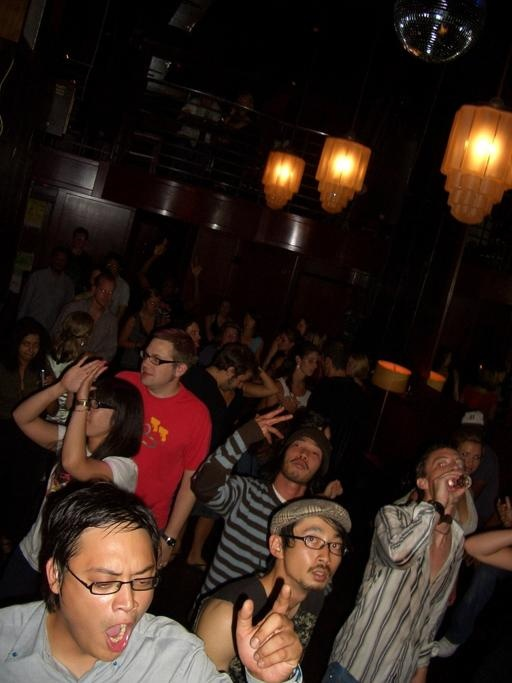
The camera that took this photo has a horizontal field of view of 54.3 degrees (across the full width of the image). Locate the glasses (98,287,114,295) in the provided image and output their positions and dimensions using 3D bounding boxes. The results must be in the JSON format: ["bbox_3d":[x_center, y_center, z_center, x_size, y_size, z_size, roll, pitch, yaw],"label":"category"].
[{"bbox_3d":[-1.600,-0.553,5.342,0.087,0.076,0.097,4,6,-4],"label":"glasses"}]

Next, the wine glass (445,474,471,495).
[{"bbox_3d":[0.938,0.639,2.284,0.117,0.081,0.042,19,3,-31],"label":"wine glass"}]
